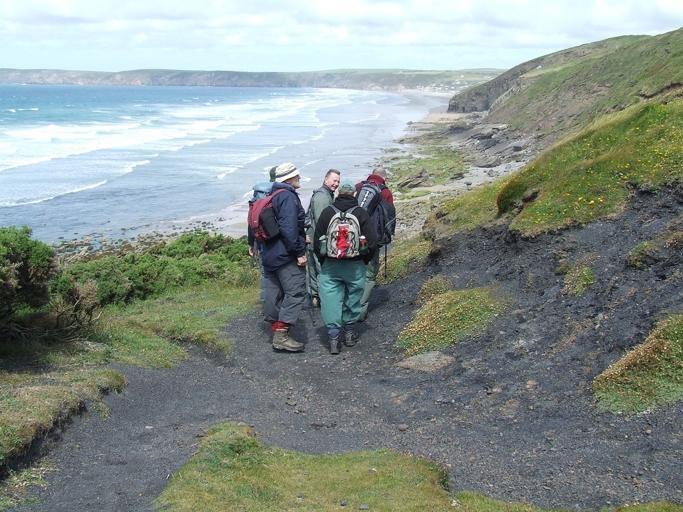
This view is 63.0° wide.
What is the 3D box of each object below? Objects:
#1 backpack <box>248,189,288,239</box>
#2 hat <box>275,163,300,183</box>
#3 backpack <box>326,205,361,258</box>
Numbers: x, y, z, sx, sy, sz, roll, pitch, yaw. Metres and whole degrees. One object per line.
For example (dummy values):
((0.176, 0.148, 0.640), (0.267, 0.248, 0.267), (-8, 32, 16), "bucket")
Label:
((-1.376, -0.691, 9.982), (0.398, 1.013, 0.813), (-23, 30, -38), "backpack")
((-1.073, -1.467, 10.112), (0.442, 0.196, 0.443), (-23, 16, -30), "hat")
((0.047, -0.328, 9.675), (0.583, 0.784, 0.346), (3, 24, 12), "backpack")
